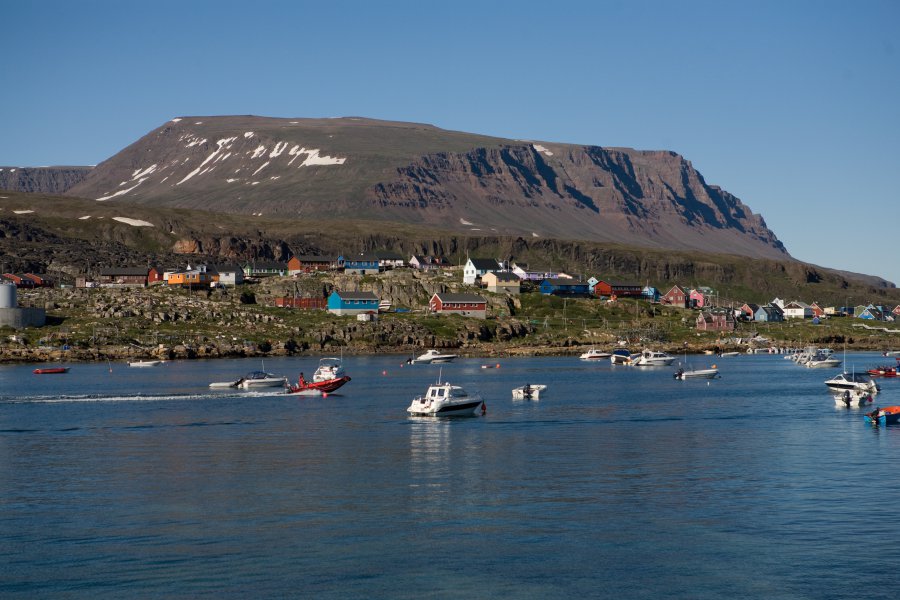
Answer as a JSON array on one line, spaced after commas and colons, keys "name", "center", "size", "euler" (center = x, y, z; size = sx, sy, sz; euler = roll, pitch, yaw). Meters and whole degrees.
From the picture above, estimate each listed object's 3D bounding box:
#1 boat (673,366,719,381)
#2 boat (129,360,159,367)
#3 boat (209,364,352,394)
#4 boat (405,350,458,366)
[{"name": "boat", "center": [40.296, 12.430, 234.646], "size": [9.548, 1.731, 2.925], "euler": [-4, -2, 25]}, {"name": "boat", "center": [-55.975, 11.599, 253.032], "size": [6.081, 0.873, 1.560], "euler": [-2, 5, -6]}, {"name": "boat", "center": [-25.714, 12.019, 209.306], "size": [19.488, 3.560, 13.302], "euler": [-1, 8, 3]}, {"name": "boat", "center": [-4.454, 11.514, 272.930], "size": [11.702, 2.374, 2.763], "euler": [-2, 3, -4]}]
